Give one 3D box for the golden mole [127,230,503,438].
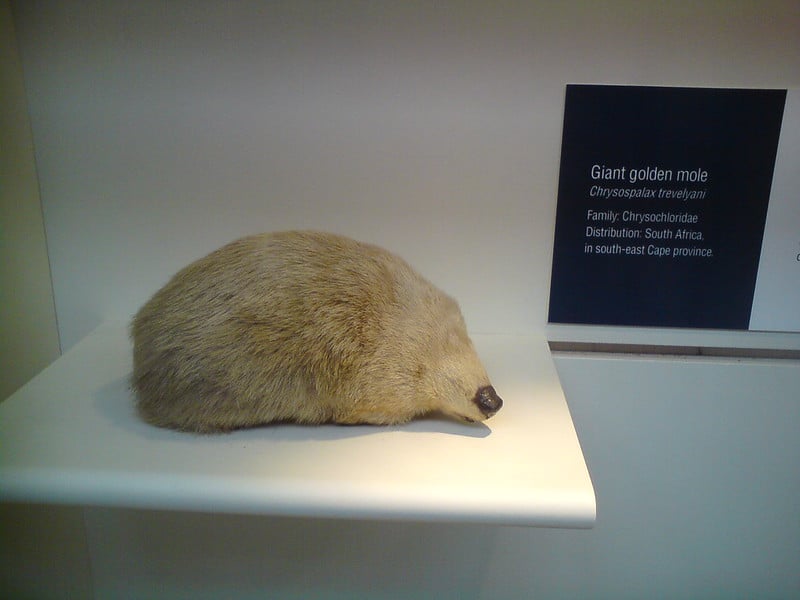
[{"bbox_3d":[-0.123,0.026,1.051,0.445,0.235,0.278,0,7,0],"label":"golden mole"}]
